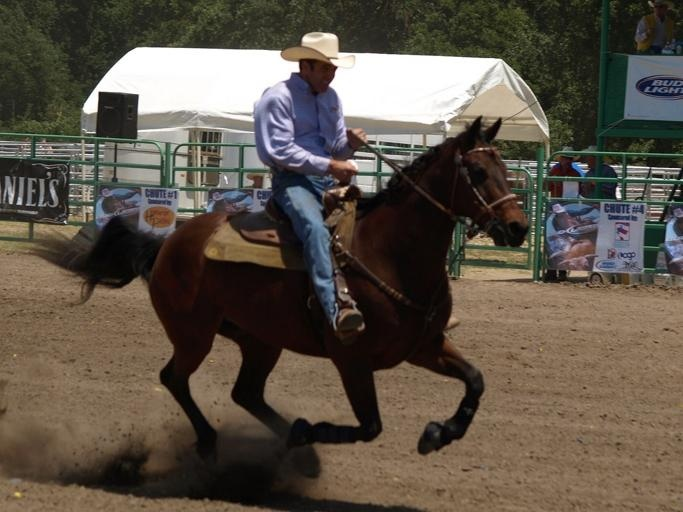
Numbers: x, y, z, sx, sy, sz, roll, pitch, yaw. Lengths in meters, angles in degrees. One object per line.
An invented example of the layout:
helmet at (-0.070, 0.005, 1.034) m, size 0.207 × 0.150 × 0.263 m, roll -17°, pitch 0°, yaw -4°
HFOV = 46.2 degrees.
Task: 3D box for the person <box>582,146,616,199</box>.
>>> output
person at (4.417, -1.418, 13.650) m, size 0.531 × 0.795 × 2.563 m, roll 5°, pitch 11°, yaw 18°

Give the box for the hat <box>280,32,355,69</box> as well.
hat at (-0.174, -1.675, 6.679) m, size 0.719 × 0.248 × 0.738 m, roll 6°, pitch 11°, yaw 24°
